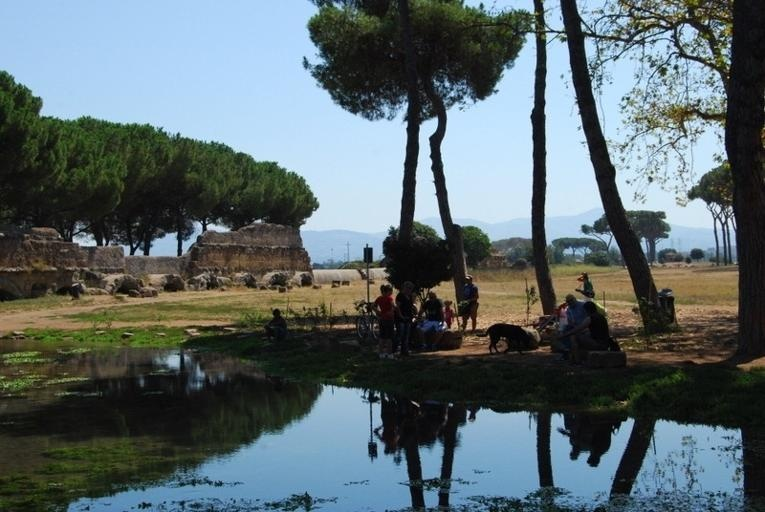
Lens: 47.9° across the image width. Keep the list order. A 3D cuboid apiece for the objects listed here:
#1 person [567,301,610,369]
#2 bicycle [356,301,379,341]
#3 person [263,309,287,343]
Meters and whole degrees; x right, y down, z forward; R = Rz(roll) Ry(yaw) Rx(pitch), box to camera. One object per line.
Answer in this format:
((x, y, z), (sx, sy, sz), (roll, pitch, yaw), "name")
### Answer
((6.085, 2.262, 25.120), (1.321, 1.742, 0.531), (-1, 9, 12), "person")
((-0.540, 2.481, 31.526), (0.695, 0.977, 1.448), (-1, -2, -29), "bicycle")
((-3.824, 2.497, 31.231), (0.692, 1.004, 1.062), (-10, 12, -38), "person")
